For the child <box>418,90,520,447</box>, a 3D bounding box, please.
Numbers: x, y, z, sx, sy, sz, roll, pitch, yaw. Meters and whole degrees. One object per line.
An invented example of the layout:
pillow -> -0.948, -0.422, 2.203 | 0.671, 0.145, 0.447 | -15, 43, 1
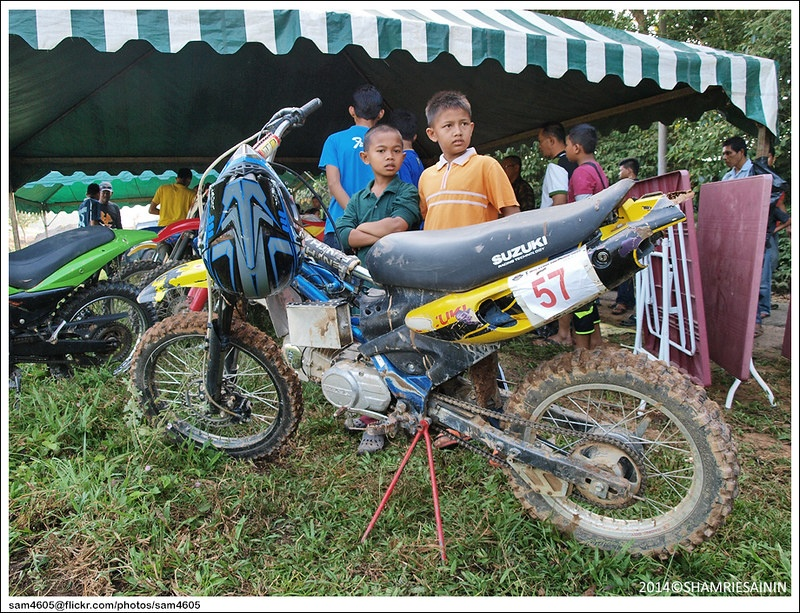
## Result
child -> 0.361, -0.317, 4.367 | 0.696, 2.257, 0.660 | -4, -9, 27

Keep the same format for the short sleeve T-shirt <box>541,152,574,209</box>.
short sleeve T-shirt -> 1.428, -1.136, 6.223 | 0.213, 0.564, 0.583 | 9, 25, 17

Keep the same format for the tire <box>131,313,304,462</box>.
tire -> -1.198, 0.548, 4.422 | 0.819, 0.886, 0.167 | 5, 10, 11

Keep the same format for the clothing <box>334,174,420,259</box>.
clothing -> -0.169, -0.557, 4.531 | 0.501, 0.671, 0.373 | -3, -10, 12

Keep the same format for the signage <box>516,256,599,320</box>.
signage -> 0.827, -0.095, 3.622 | 0.402, 0.289, 0.160 | -24, -5, 10

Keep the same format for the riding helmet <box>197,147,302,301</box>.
riding helmet -> -0.862, -0.462, 4.024 | 0.502, 0.868, 0.426 | -1, 5, -3

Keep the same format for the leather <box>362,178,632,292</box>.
leather -> 0.447, -0.254, 3.976 | 1.760, 0.568, 0.541 | -10, 24, 24

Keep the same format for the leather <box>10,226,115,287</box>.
leather -> -2.671, -0.316, 5.326 | 0.379, 0.189, 0.669 | 6, 37, 44
